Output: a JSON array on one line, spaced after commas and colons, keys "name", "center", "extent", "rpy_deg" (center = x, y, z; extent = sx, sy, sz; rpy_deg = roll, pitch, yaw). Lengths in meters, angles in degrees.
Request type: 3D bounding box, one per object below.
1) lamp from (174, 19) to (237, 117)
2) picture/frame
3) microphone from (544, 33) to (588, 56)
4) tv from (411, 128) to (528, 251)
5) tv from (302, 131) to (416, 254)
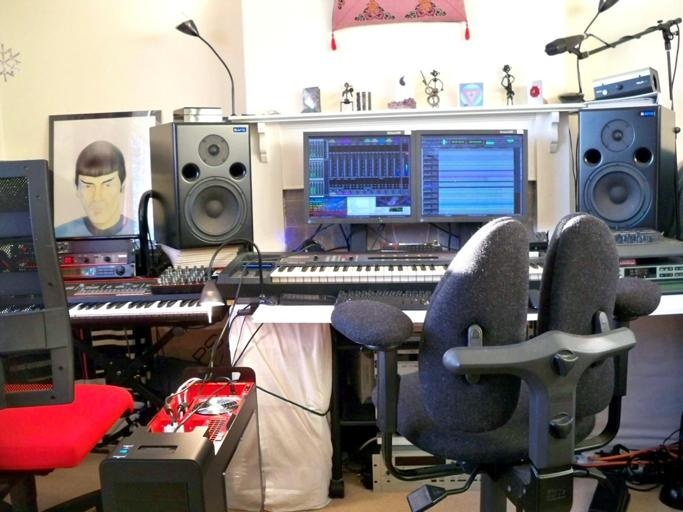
[{"name": "lamp", "center": [-0.702, -0.991, 3.248], "extent": [0.289, 0.556, 0.543], "rpy_deg": [-4, 8, -14]}, {"name": "picture/frame", "center": [-1.264, -0.400, 3.339], "extent": [0.674, 0.791, 0.034], "rpy_deg": [-2, 1, 1]}, {"name": "microphone", "center": [1.071, -1.005, 2.996], "extent": [0.202, 0.099, 0.083], "rpy_deg": [-14, -1, -1]}, {"name": "tv", "center": [0.587, -0.333, 2.823], "extent": [0.561, 0.713, 0.226], "rpy_deg": [0, 3, 0]}, {"name": "tv", "center": [0.088, -0.327, 2.998], "extent": [0.557, 0.683, 0.214], "rpy_deg": [-1, 4, -1]}]
